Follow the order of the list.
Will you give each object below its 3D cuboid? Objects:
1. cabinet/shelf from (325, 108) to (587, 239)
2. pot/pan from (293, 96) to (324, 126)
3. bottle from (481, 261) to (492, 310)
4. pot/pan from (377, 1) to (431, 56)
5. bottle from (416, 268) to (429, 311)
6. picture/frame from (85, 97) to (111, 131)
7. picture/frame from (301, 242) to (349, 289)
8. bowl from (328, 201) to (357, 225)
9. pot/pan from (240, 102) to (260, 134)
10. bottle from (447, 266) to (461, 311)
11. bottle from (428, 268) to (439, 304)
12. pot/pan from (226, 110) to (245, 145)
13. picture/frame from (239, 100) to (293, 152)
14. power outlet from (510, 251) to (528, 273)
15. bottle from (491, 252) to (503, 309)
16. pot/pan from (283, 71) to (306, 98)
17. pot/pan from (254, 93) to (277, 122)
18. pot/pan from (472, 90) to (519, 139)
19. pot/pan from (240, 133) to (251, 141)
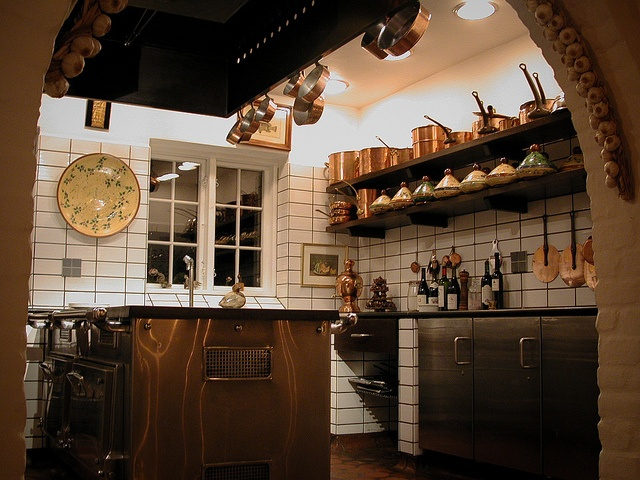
[{"bbox_3d":[1.021,-0.403,4.479,0.426,0.524,2.442,3,-8,-34],"label":"cabinet/shelf"},{"bbox_3d":[-0.066,-0.656,2.905,0.113,0.142,0.156,5,-23,-25],"label":"pot/pan"},{"bbox_3d":[1.224,0.325,4.205,0.091,0.358,0.222,-4,-8,16],"label":"bottle"},{"bbox_3d":[0.328,-0.798,2.163,0.075,0.197,0.189,28,-33,-21],"label":"pot/pan"},{"bbox_3d":[0.844,0.398,4.683,0.097,0.344,0.416,-3,-8,10],"label":"bottle"},{"bbox_3d":[-1.792,-1.015,4.621,0.204,0.224,0.134,1,-8,-23],"label":"picture/frame"},{"bbox_3d":[0.028,0.251,5.407,0.406,0.338,0.017,6,-12,-35],"label":"picture/frame"},{"bbox_3d":[0.208,-0.243,5.320,0.218,0.170,0.221,1,-4,0],"label":"bowl"},{"bbox_3d":[-0.360,-0.614,2.909,0.062,0.157,0.097,10,-6,-21],"label":"pot/pan"},{"bbox_3d":[1.031,0.378,4.424,0.098,0.326,0.267,-4,-8,14],"label":"bottle"},{"bbox_3d":[0.923,0.395,4.644,0.073,0.266,0.253,-4,-8,12],"label":"bottle"},{"bbox_3d":[-0.447,-0.578,3.040,0.080,0.201,0.115,15,17,-16],"label":"pot/pan"},{"bbox_3d":[-0.421,-1.018,5.355,0.620,0.604,0.144,5,-3,-35],"label":"picture/frame"},{"bbox_3d":[1.429,0.157,4.075,0.016,0.164,0.136,7,-10,-22],"label":"power outlet"},{"bbox_3d":[1.285,0.288,4.144,0.067,0.408,0.146,-5,-8,25],"label":"bottle"},{"bbox_3d":[-0.119,-0.724,2.649,0.054,0.108,0.154,18,-45,-7],"label":"pot/pan"},{"bbox_3d":[-0.275,-0.654,2.868,0.048,0.140,0.081,7,-15,-21],"label":"pot/pan"},{"bbox_3d":[1.208,-0.836,4.025,0.444,0.313,0.250,8,-5,-37],"label":"pot/pan"},{"bbox_3d":[-0.384,-0.539,2.979,0.038,0.041,0.033,0,16,-28],"label":"pot/pan"}]
